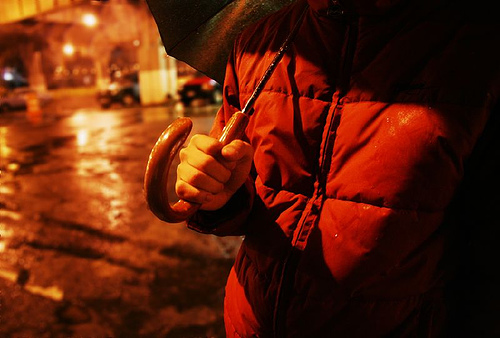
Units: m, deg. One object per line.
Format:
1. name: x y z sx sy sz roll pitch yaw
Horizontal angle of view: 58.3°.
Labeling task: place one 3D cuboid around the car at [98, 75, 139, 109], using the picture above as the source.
1. car: -4.183 -2.612 14.741 0.795 0.949 2.669 2 12 -8

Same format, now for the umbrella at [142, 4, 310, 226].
1. umbrella: -0.070 -0.163 1.404 0.184 0.638 0.571 9 12 30
